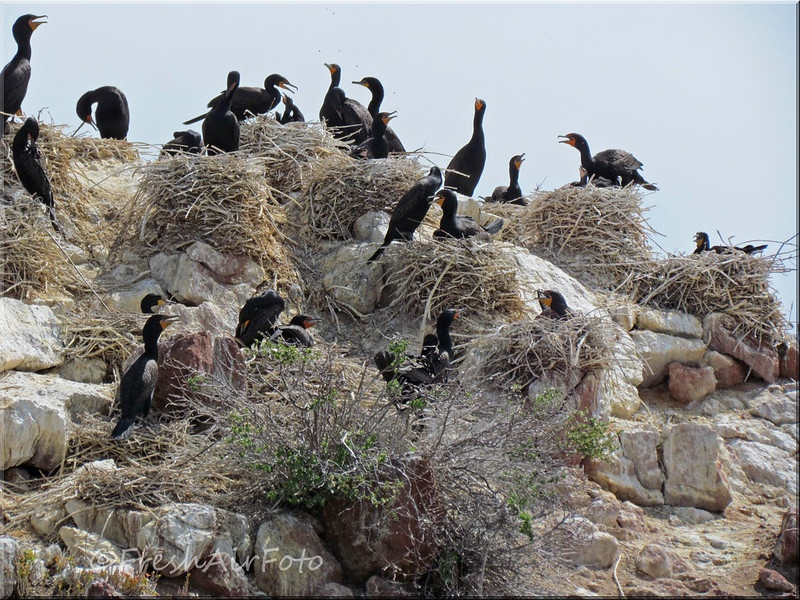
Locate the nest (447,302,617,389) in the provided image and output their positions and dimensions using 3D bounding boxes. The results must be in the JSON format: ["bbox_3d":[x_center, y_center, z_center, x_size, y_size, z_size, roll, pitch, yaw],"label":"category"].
[{"bbox_3d":[1.249,0.315,12.622,0.928,0.308,0.798,-8,8,-36],"label":"nest"}]

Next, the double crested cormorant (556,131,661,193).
[{"bbox_3d":[2.375,-1.554,16.468,1.128,0.686,0.405,-4,-3,-16],"label":"double crested cormorant"}]

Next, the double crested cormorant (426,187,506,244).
[{"bbox_3d":[0.611,-0.808,14.127,0.626,0.458,0.454,8,-6,-8],"label":"double crested cormorant"}]

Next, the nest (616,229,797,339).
[{"bbox_3d":[3.106,-0.105,14.445,1.586,0.986,0.448,6,-12,11],"label":"nest"}]

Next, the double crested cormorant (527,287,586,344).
[{"bbox_3d":[1.446,0.097,12.924,0.634,0.269,0.197,24,2,34],"label":"double crested cormorant"}]
